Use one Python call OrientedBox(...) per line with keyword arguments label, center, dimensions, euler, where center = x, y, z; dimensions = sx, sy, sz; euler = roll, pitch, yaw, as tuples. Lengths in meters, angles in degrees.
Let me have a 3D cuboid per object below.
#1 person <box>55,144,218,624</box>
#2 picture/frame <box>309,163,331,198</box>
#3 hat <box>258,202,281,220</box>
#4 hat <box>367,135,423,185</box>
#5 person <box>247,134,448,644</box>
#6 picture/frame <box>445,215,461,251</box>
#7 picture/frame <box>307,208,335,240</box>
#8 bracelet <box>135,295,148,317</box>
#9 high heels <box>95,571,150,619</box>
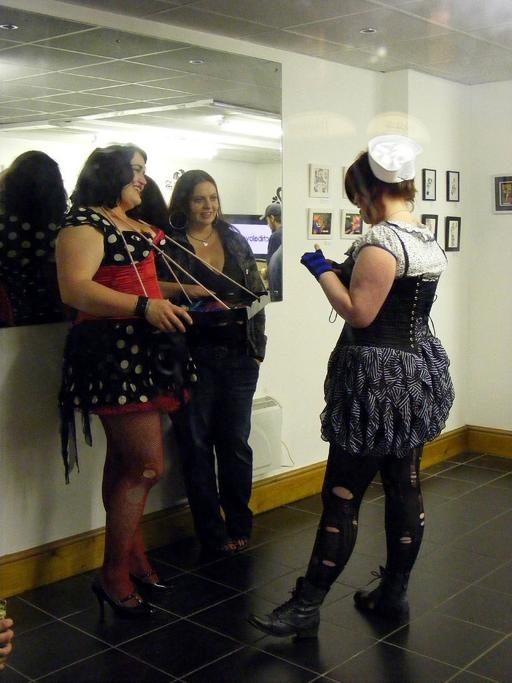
OrientedBox(label="person", center=(-0.451, 0.123, 1.814), dimensions=(0.483, 1.505, 0.311), euler=(1, 10, 2))
OrientedBox(label="picture/frame", center=(0.319, -0.822, 2.832), dimensions=(0.017, 0.191, 0.214), euler=(-3, 0, 42))
OrientedBox(label="hat", center=(0.068, -0.583, 2.469), dimensions=(0.114, 0.056, 0.071), euler=(-1, 9, -7))
OrientedBox(label="hat", center=(0.381, -0.485, 1.477), dimensions=(0.198, 0.130, 0.104), euler=(-6, 12, -35))
OrientedBox(label="person", center=(0.290, 0.177, 1.568), dimensions=(0.489, 1.469, 0.326), euler=(-8, 13, -43))
OrientedBox(label="picture/frame", center=(1.311, -0.733, 3.718), dimensions=(0.027, 0.297, 0.242), euler=(5, 10, 37))
OrientedBox(label="picture/frame", center=(0.330, -0.617, 2.876), dimensions=(0.183, 0.141, 0.027), euler=(-8, 11, -43))
OrientedBox(label="bracelet", center=(-0.339, -0.102, 1.649), dimensions=(0.044, 0.061, 0.058), euler=(8, 7, -6))
OrientedBox(label="high heels", center=(-0.430, 0.843, 1.852), dimensions=(0.192, 0.088, 0.094), euler=(7, 3, 7))
